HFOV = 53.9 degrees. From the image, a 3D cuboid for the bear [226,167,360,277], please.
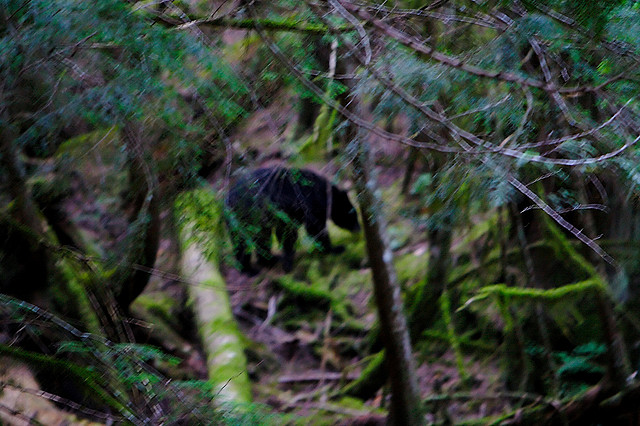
[{"bbox_3d":[-0.263,0.111,6.844,1.161,1.230,1.969,9,-11,9],"label":"bear"}]
